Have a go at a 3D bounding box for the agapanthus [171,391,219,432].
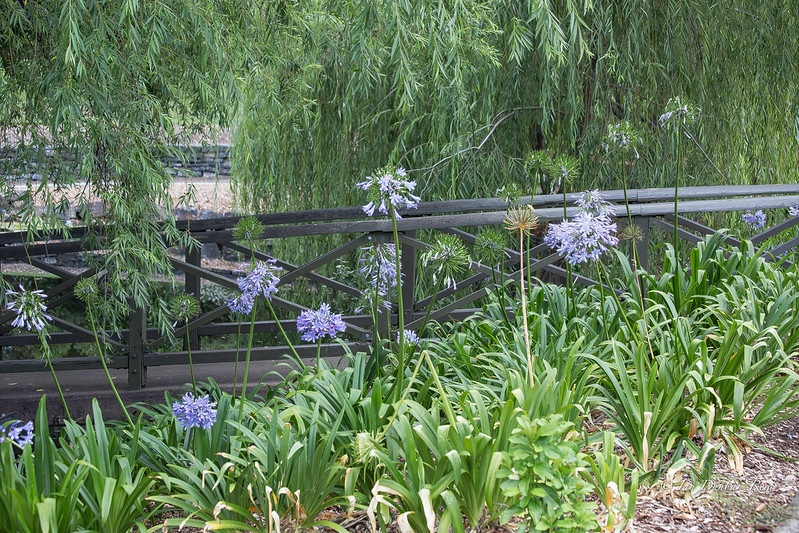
[{"bbox_3d":[-1.114,0.792,5.158,0.210,0.192,0.153,8,16,28],"label":"agapanthus"}]
